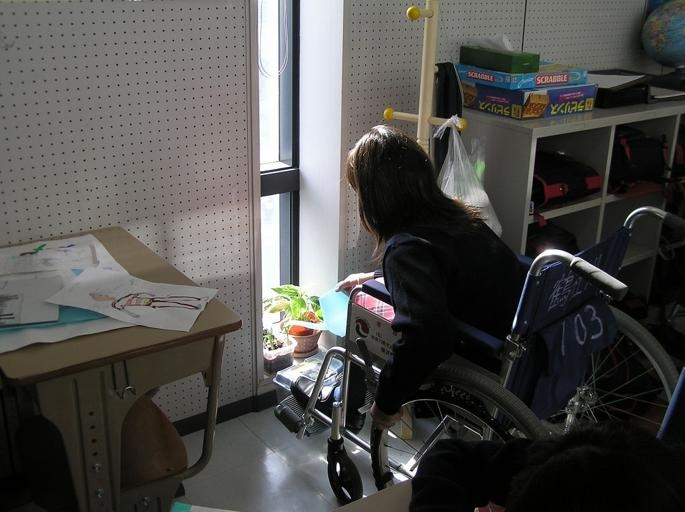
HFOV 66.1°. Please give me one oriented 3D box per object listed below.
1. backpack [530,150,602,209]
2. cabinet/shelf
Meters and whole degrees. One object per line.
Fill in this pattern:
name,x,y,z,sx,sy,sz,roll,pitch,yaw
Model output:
backpack,1.041,-0.394,2.654,0.315,0.161,0.430,-10,21,-8
cabinet/shelf,1.000,-0.293,2.326,0.833,0.832,0.340,-13,28,-26
